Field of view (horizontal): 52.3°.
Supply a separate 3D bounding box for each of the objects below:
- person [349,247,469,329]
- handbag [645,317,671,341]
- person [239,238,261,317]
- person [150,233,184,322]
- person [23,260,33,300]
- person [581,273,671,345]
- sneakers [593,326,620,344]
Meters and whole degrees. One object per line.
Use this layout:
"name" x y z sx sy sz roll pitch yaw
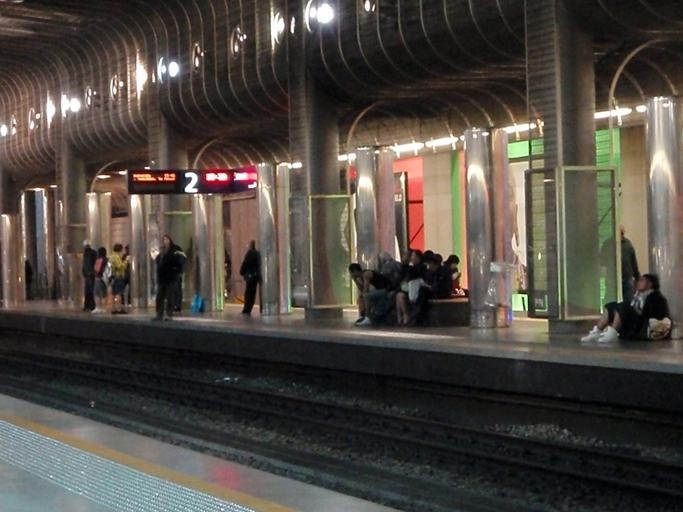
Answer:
"person" 1.128 0.598 12.792 1.737 1.328 0.671 -2 3 27
"handbag" 4.526 1.095 9.976 0.244 0.330 0.361 17 -37 8
"person" -2.134 0.521 16.511 0.513 1.769 1.147 -4 3 -9
"person" -3.726 0.479 14.979 0.544 1.841 0.815 -6 4 -41
"person" -11.606 0.918 25.962 0.223 1.129 1.545 -4 4 -21
"person" 4.099 0.791 10.230 1.182 1.075 0.803 0 -3 1
"sneakers" 3.728 1.106 9.784 0.386 0.192 0.146 1 -1 -31
